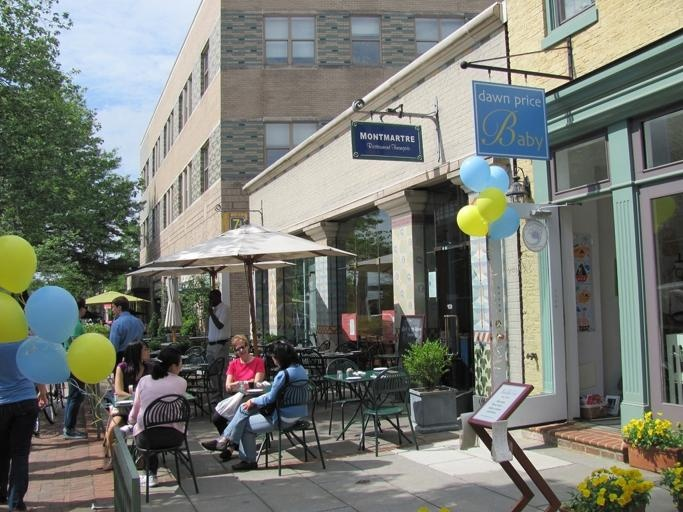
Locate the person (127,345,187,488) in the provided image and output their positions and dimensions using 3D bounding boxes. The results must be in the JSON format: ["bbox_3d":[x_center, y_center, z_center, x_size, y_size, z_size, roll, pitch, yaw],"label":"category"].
[{"bbox_3d":[-2.327,2.066,8.001,0.699,1.243,0.680,-4,2,-25],"label":"person"}]

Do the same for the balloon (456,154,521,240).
[{"bbox_3d":[1.982,-0.802,8.538,0.603,1.119,0.878,-2,2,31],"label":"balloon"}]

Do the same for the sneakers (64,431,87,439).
[{"bbox_3d":[-4.430,2.968,10.397,0.378,0.174,0.144,1,1,-10],"label":"sneakers"}]

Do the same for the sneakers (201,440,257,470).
[{"bbox_3d":[-1.550,2.779,8.703,0.525,0.230,0.167,29,2,13],"label":"sneakers"}]

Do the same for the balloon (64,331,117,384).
[{"bbox_3d":[-2.647,1.036,6.666,0.481,0.598,0.494,0,1,-16],"label":"balloon"}]
